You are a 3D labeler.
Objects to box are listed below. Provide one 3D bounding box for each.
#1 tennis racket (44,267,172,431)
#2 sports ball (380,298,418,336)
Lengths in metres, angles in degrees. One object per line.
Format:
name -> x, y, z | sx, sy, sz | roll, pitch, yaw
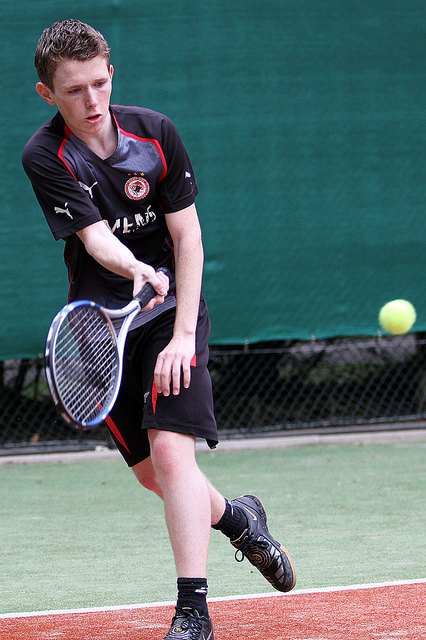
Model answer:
tennis racket -> -0.245, 0.074, 2.026 | 0.065, 0.294, 0.744 | -14, 10, 19
sports ball -> 1.073, -0.009, 4.947 | 0.225, 0.238, 0.217 | 14, 1, 0
